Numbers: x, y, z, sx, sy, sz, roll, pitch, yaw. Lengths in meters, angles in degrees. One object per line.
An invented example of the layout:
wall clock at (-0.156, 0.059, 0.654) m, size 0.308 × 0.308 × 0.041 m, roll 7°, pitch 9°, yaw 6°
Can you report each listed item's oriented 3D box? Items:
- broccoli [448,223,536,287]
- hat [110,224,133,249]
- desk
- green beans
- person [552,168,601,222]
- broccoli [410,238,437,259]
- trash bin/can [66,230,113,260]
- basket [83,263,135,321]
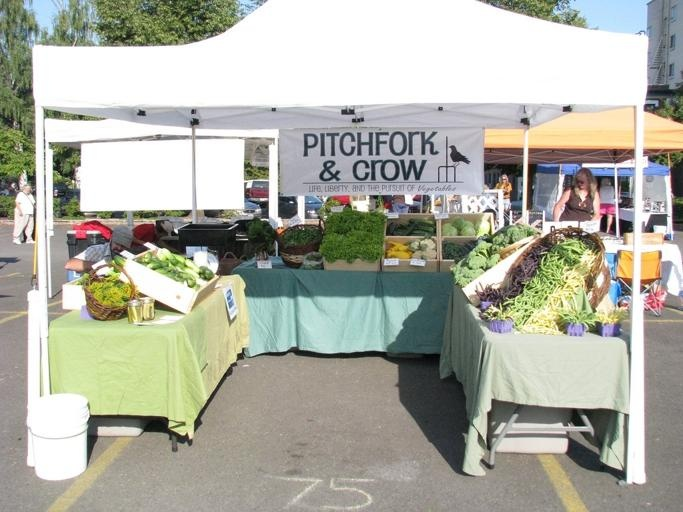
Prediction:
broccoli at (1.458, -0.034, 5.933) m, size 0.744 × 0.690 × 0.618 m, roll 1°, pitch 9°, yaw 1°
hat at (-2.838, -0.254, 7.741) m, size 0.224 × 0.184 × 0.337 m, roll 18°, pitch -2°, yaw -32°
desk at (-0.009, 0.943, 6.032) m, size 4.700 × 1.191 × 2.467 m, roll 1°, pitch 12°, yaw 6°
green beans at (1.789, 0.296, 5.077) m, size 0.919 × 0.934 × 0.698 m, roll 1°, pitch 8°, yaw 6°
person at (3.439, -0.894, 8.813) m, size 0.583 × 0.769 × 0.592 m, roll 4°, pitch 13°, yaw 20°
broccoli at (0.971, -0.074, 7.198) m, size 0.253 × 0.113 × 0.266 m, roll -12°, pitch 37°, yaw -2°
trash bin/can at (-4.257, -0.242, 9.959) m, size 0.558 × 0.557 × 0.678 m, roll 0°, pitch 6°, yaw -1°
basket at (-2.100, 0.348, 5.440) m, size 0.427 × 0.400 × 0.526 m, roll 15°, pitch 22°, yaw -14°
